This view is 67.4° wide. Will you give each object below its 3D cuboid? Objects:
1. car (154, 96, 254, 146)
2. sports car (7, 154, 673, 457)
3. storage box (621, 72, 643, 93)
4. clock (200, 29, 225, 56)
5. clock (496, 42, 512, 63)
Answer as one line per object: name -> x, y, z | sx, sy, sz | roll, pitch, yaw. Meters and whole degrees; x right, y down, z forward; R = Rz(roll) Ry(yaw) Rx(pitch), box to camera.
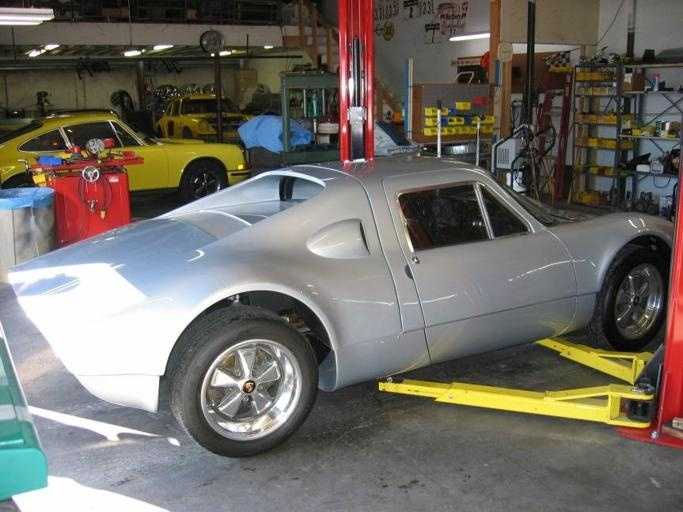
car -> -4.364, -4.282, 15.869 | 1.786, 1.192, 3.108 | -5, 12, -26
sports car -> 0.000, 0.199, 3.759 | 4.357, 1.728, 1.479 | -8, 15, -23
storage box -> 5.384, -3.214, 9.487 | 0.332, 0.328, 0.196 | -5, 15, -15
clock -> -3.538, -5.832, 13.940 | 0.726, 0.779, 0.174 | -8, 15, -28
clock -> 3.086, -3.825, 9.635 | 0.366, 0.361, 0.130 | -12, 17, -37
